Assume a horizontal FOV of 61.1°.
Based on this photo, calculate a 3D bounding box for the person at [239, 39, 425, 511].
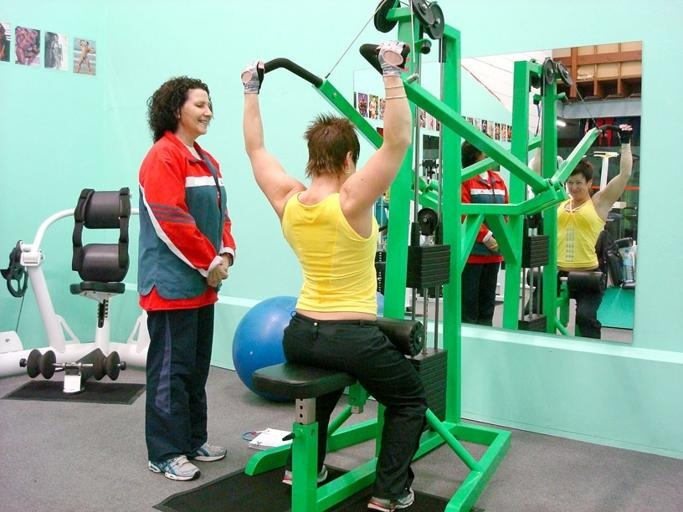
[{"bbox_3d":[-0.019,0.188,2.771,0.871,2.261,0.445,2,8,10],"label":"person"}]

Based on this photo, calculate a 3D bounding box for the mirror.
[{"bbox_3d":[0.944,-0.403,4.174,1.740,2.168,1.309,0,-1,19],"label":"mirror"}]

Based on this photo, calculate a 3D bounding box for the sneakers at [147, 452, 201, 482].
[{"bbox_3d":[-0.950,1.208,3.312,0.274,0.142,0.126,4,-6,20],"label":"sneakers"}]

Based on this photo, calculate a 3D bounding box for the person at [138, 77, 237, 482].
[{"bbox_3d":[-0.892,0.112,3.329,0.526,2.272,0.484,-3,8,-20],"label":"person"}]

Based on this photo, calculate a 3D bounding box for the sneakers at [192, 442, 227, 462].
[{"bbox_3d":[-0.794,1.191,3.496,0.190,0.101,0.085,2,-5,-9],"label":"sneakers"}]
